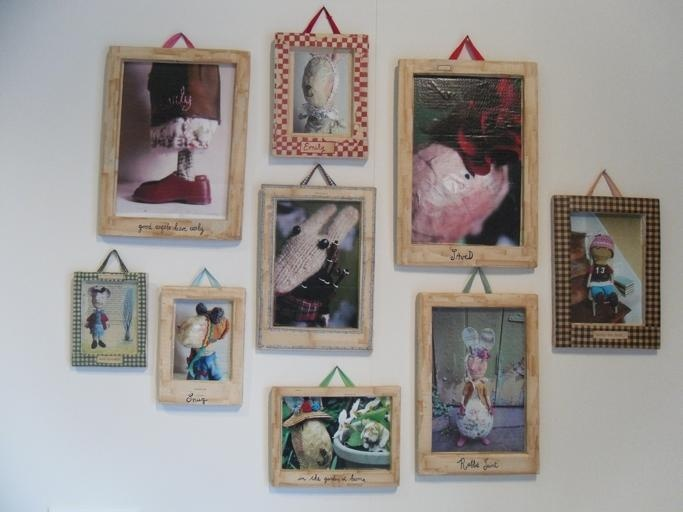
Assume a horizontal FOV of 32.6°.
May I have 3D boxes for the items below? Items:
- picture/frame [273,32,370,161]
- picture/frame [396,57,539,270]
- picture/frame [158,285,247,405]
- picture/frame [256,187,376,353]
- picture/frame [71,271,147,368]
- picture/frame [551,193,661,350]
[{"bbox_3d":[-0.066,-0.485,3.525,0.338,0.448,0.038,2,1,-2],"label":"picture/frame"},{"bbox_3d":[0.375,-0.272,3.537,0.575,0.899,0.089,0,3,-2],"label":"picture/frame"},{"bbox_3d":[-0.422,0.275,3.511,0.318,0.493,0.042,1,-5,-4],"label":"picture/frame"},{"bbox_3d":[-0.083,0.049,3.523,0.441,0.647,0.043,2,-2,-5],"label":"picture/frame"},{"bbox_3d":[-0.698,0.195,3.518,0.261,0.375,0.026,0,-2,-3],"label":"picture/frame"},{"bbox_3d":[0.794,0.060,3.550,0.426,0.646,0.058,0,-3,-5],"label":"picture/frame"}]
